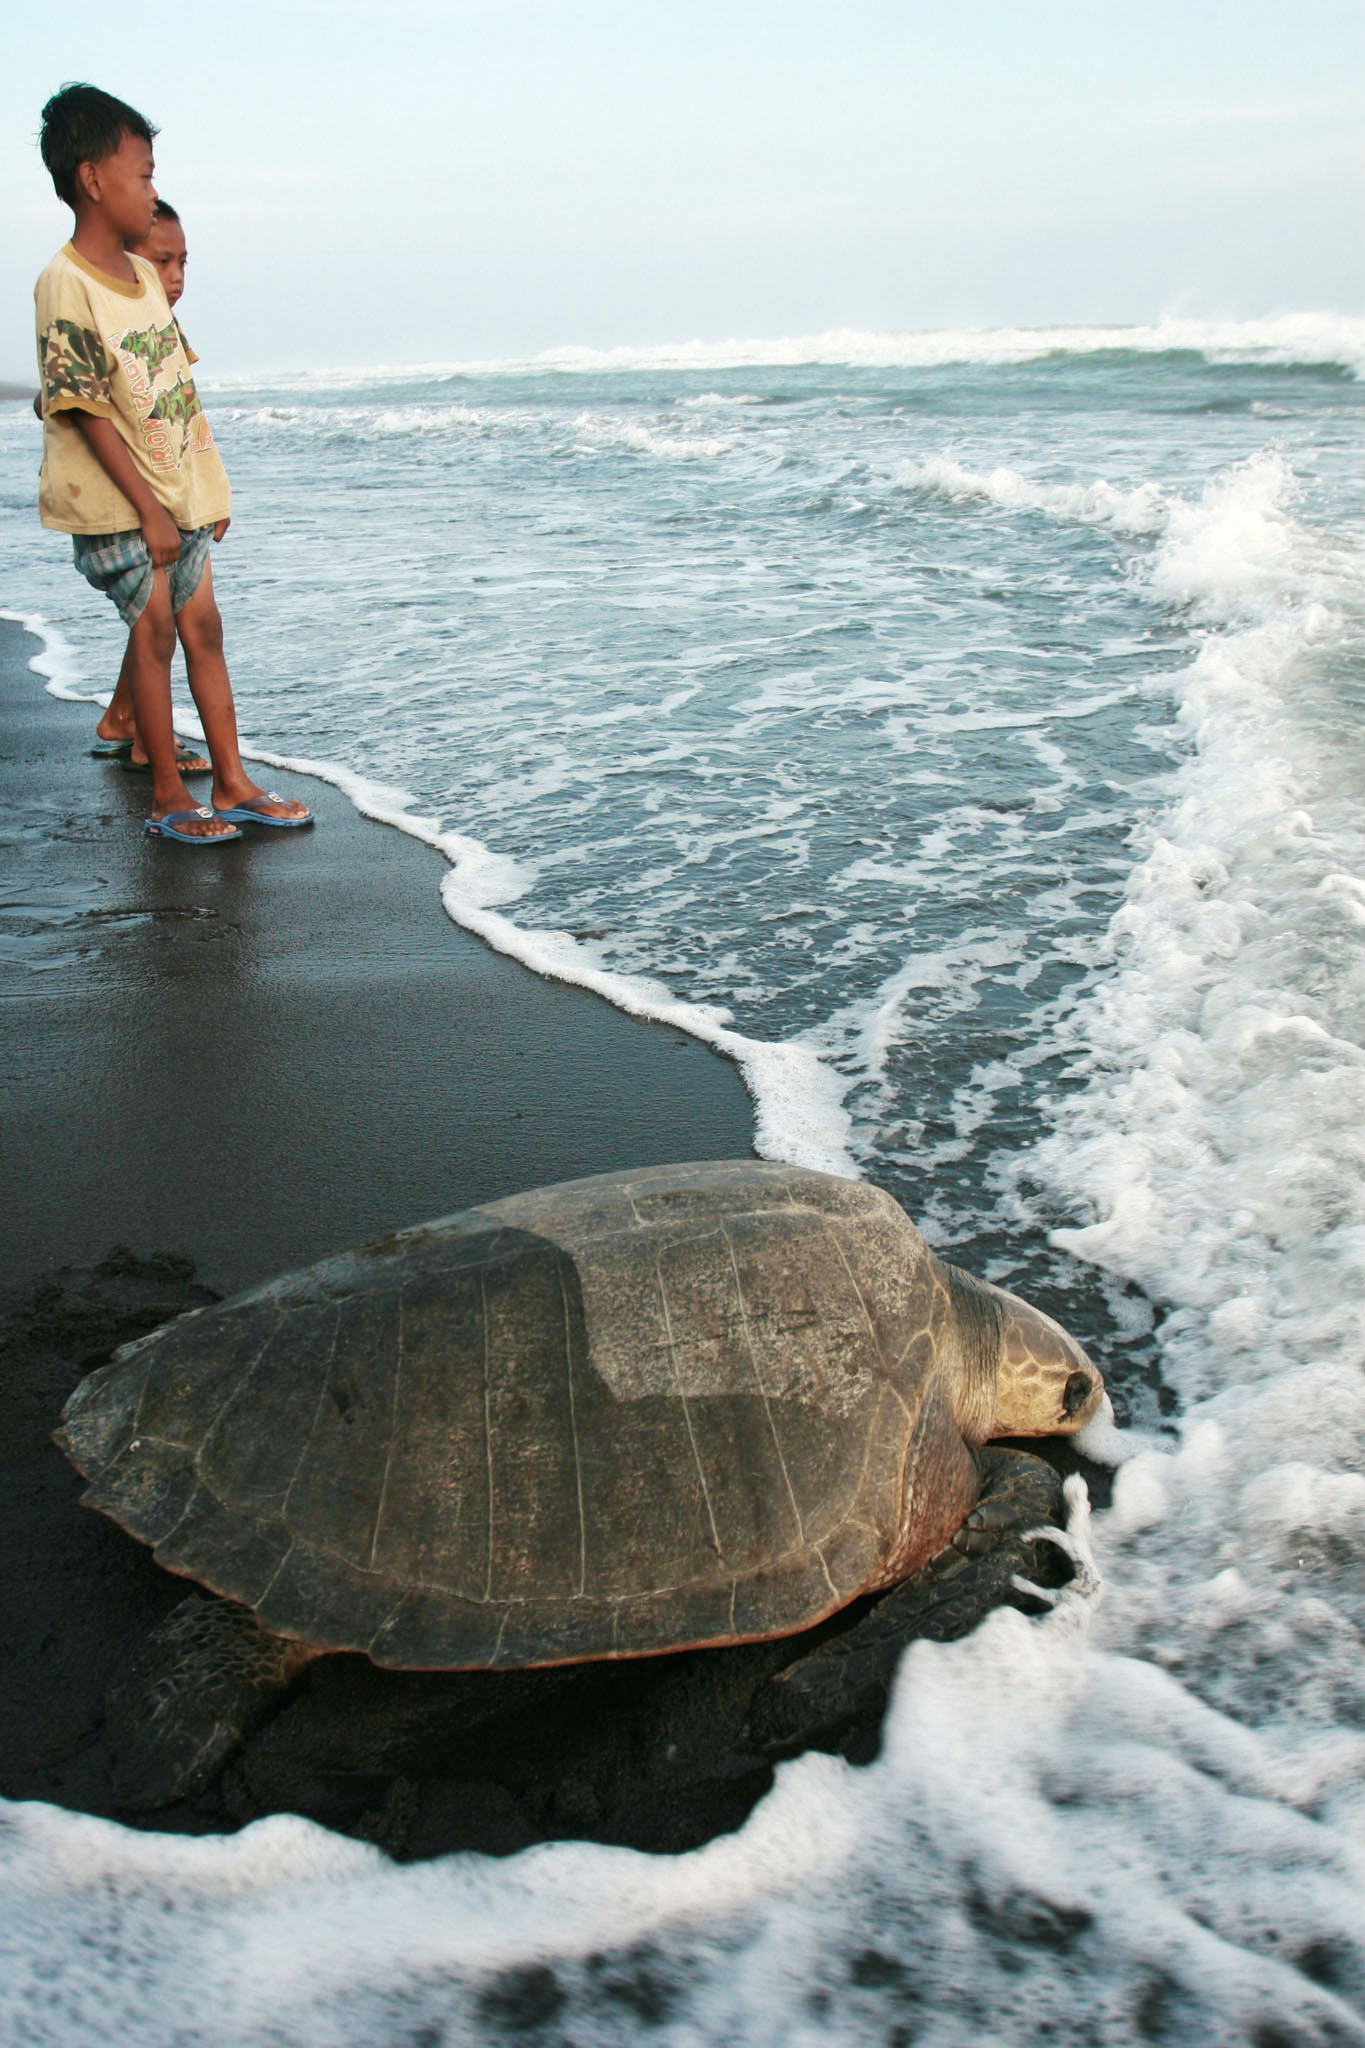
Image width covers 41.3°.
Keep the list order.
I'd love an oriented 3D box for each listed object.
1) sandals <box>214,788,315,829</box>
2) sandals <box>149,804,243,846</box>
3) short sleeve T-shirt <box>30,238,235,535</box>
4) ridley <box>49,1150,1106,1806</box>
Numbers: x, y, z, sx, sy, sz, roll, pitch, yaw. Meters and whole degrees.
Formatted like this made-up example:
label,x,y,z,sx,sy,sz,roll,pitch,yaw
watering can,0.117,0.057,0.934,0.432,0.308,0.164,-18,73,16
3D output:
label,x,y,z,sx,sy,sz,roll,pitch,yaw
sandals,-1.542,-0.794,6.669,0.302,0.097,0.147,0,14,-6
sandals,-1.710,-0.698,6.350,0.257,0.080,0.137,5,15,17
short sleeve T-shirt,-1.769,-1.969,5.675,0.526,0.850,0.909,-6,19,-14
ridley,-0.118,0.636,2.687,1.251,0.326,0.791,-3,22,-18
